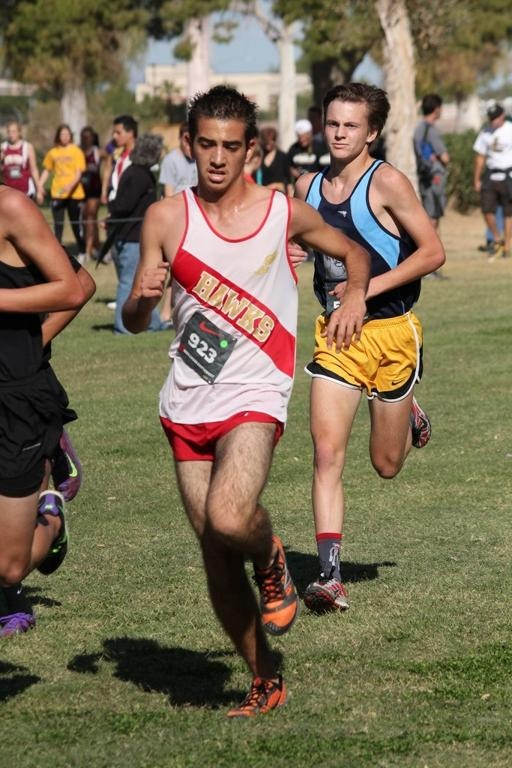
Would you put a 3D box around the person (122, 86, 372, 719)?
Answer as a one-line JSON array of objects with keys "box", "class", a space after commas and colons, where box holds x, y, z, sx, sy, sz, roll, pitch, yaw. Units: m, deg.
[{"box": [-0.079, 0.010, 2.863, 0.536, 1.865, 0.783, 4, 10, 34], "class": "person"}]

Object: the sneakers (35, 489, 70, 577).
[{"box": [-0.713, 0.547, 3.421, 0.135, 0.355, 0.143, 10, 44, 3], "class": "sneakers"}]

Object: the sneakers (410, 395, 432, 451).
[{"box": [0.941, 0.213, 5.096, 0.140, 0.346, 0.152, -1, 44, 10], "class": "sneakers"}]

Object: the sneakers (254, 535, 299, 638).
[{"box": [0.077, 0.626, 2.871, 0.121, 0.319, 0.138, -12, 10, 19], "class": "sneakers"}]

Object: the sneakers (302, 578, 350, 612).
[{"box": [0.281, 0.853, 3.747, 0.101, 0.097, 0.215, -1, -4, 17], "class": "sneakers"}]

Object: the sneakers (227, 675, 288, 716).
[{"box": [0.026, 0.916, 2.799, 0.075, 0.088, 0.222, 1, 8, 40], "class": "sneakers"}]
